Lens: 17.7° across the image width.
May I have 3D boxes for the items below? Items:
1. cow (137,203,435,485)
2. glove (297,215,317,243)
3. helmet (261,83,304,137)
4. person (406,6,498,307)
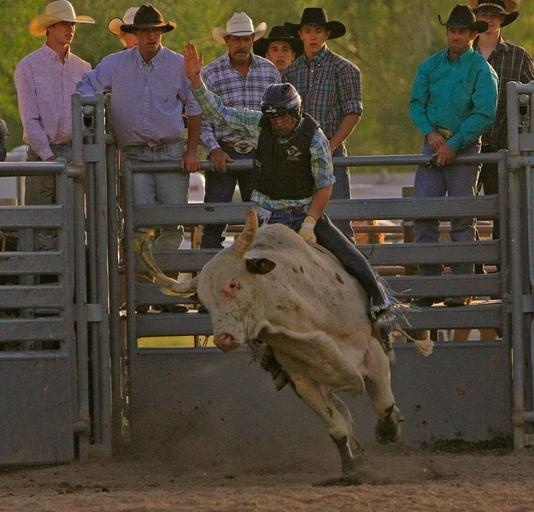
[{"bbox_3d":[0.229,0.744,14.954,0.875,2.457,2.099,3,6,45],"label":"cow"},{"bbox_3d":[0.367,-0.246,15.170,0.133,0.231,0.073,3,-1,-2],"label":"glove"},{"bbox_3d":[0.127,-1.295,15.053,0.347,0.451,0.357,-1,4,0],"label":"helmet"},{"bbox_3d":[1.783,-1.007,16.862,0.893,2.952,0.899,1,5,30],"label":"person"}]
